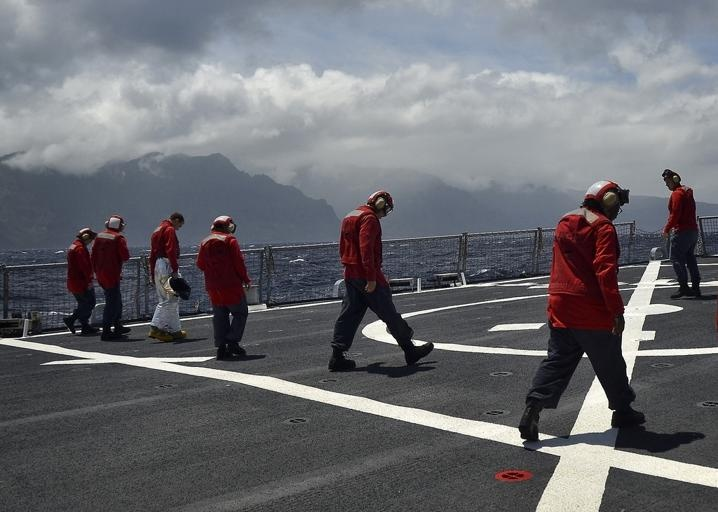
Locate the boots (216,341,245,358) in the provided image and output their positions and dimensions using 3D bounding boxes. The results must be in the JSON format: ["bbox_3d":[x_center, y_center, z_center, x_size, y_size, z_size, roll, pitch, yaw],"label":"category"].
[{"bbox_3d":[-1.980,1.536,9.477,0.581,0.267,0.190,-4,7,-35],"label":"boots"}]

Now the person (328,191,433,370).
[{"bbox_3d":[0.162,0.346,8.256,1.324,2.470,0.748,-3,2,3],"label":"person"}]

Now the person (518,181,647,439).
[{"bbox_3d":[2.082,0.488,5.453,1.143,2.352,0.701,-3,2,12],"label":"person"}]

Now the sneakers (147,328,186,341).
[{"bbox_3d":[-3.756,1.533,11.458,0.657,0.228,0.287,-4,3,-17],"label":"sneakers"}]

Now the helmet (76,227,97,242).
[{"bbox_3d":[-6.091,-0.483,13.068,0.374,0.198,0.465,-5,2,-23],"label":"helmet"}]

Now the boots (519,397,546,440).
[{"bbox_3d":[1.605,1.538,5.397,0.149,0.349,0.345,9,51,35],"label":"boots"}]

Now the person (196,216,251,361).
[{"bbox_3d":[-2.179,0.635,9.630,0.778,1.691,0.684,-3,2,-12],"label":"person"}]

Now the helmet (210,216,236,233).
[{"bbox_3d":[-2.329,-0.519,10.154,0.431,0.342,0.361,-15,18,-32],"label":"helmet"}]

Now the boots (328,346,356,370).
[{"bbox_3d":[-0.276,1.455,8.308,0.448,0.410,0.226,-2,6,-6],"label":"boots"}]

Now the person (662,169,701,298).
[{"bbox_3d":[7.055,-0.472,12.712,0.673,2.830,1.254,-2,2,29],"label":"person"}]
